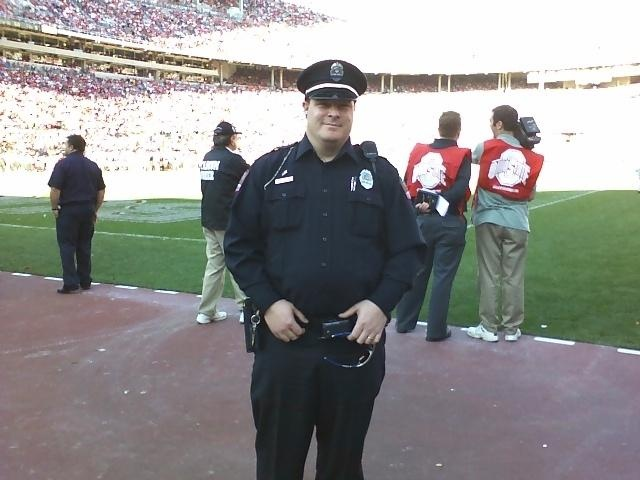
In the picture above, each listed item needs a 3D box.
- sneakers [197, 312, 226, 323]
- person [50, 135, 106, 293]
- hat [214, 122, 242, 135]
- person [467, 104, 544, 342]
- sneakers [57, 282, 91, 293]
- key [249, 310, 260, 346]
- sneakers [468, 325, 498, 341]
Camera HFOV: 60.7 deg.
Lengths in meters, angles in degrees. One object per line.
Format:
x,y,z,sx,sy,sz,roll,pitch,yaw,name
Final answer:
-1.231,0.884,6.245,0.338,0.136,0.126,-9,15,-40,sneakers
-3.311,-0.360,7.364,0.446,2.055,0.829,5,11,15,person
-1.039,-1.235,6.154,0.165,0.132,0.252,9,23,42,hat
1.919,-0.163,5.690,0.697,2.409,0.558,3,11,7,person
-3.283,0.643,7.300,0.389,0.170,0.136,4,0,-30,sneakers
-0.378,0.508,3.164,0.063,0.190,0.050,2,4,-2,key
1.702,0.980,5.760,0.316,0.150,0.130,13,21,41,sneakers
